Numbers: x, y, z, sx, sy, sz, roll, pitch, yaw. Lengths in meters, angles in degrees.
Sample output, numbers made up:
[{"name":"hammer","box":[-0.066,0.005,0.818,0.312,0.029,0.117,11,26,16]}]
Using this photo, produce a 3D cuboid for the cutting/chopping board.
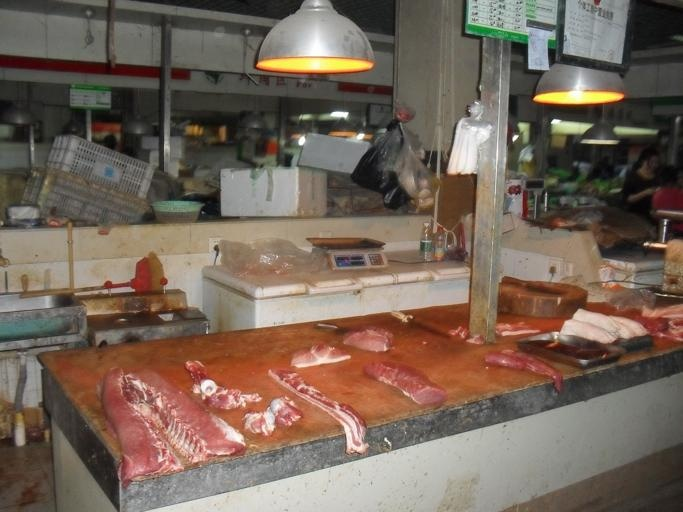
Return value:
[{"name":"cutting/chopping board","box":[1.207,0.257,3.271,0.496,0.133,0.388,5,14,17]}]

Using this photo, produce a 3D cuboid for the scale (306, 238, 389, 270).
[{"name":"scale","box":[0.065,-0.031,4.502,0.610,0.215,0.399,-6,15,-27]}]

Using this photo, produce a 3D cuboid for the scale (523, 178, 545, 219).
[{"name":"scale","box":[1.938,-0.588,5.475,0.179,0.379,0.543,5,14,18]}]

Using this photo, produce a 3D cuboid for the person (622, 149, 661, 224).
[{"name":"person","box":[3.599,-0.884,6.466,0.366,0.809,0.454,8,16,26]}]

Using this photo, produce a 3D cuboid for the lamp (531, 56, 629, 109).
[{"name":"lamp","box":[1.451,-1.076,3.348,0.479,0.207,0.466,1,4,-11]}]

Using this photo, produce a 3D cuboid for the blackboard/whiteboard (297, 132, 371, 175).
[{"name":"blackboard/whiteboard","box":[-0.078,-0.890,4.713,0.623,0.341,0.130,-1,14,-7]}]

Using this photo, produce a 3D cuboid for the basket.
[{"name":"basket","box":[-1.992,-0.614,4.350,0.875,0.700,0.273,-4,15,-18]}]
